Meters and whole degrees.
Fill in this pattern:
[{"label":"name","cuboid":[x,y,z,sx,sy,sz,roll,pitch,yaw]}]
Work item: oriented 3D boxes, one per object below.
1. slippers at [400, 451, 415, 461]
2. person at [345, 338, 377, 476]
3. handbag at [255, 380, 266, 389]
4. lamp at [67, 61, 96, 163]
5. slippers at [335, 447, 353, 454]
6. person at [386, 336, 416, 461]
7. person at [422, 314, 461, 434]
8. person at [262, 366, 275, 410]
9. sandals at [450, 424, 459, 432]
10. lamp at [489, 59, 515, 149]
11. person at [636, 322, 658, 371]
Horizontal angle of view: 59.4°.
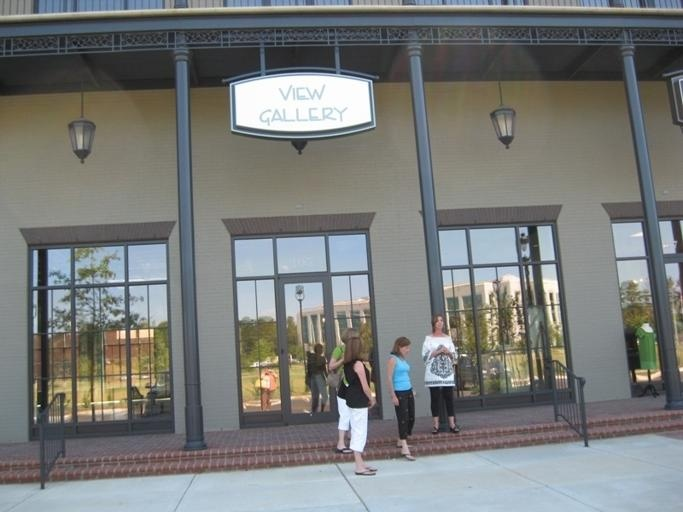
[{"label":"slippers","cuboid":[1.174,3.480,10.430,0.103,0.073,0.264,2,-2,-8]},{"label":"person","cuboid":[0.338,2.428,9.837,0.553,2.143,0.538,2,-14,-11]},{"label":"handbag","cuboid":[-1.755,2.812,13.136,0.185,0.120,0.141,0,-9,2]},{"label":"lamp","cuboid":[-5.694,-3.044,13.172,0.516,1.992,0.786,-2,-10,-21]},{"label":"slippers","cuboid":[0.051,3.456,10.649,0.202,0.064,0.121,0,-4,2]},{"label":"person","cuboid":[1.068,2.478,10.375,0.387,2.109,0.691,-6,-9,4]},{"label":"person","cuboid":[1.876,2.197,11.205,0.613,2.175,0.654,-6,-9,8]},{"label":"person","cuboid":[-1.613,2.880,13.220,0.361,1.051,0.284,-7,-28,5]},{"label":"sandals","cuboid":[2.137,3.223,11.248,0.089,0.101,0.230,1,1,17]},{"label":"lamp","cuboid":[3.765,-3.528,14.088,0.551,1.993,0.822,-8,-9,17]},{"label":"person","cuboid":[7.040,2.085,13.752,0.385,1.020,0.342,-9,-10,25]}]
